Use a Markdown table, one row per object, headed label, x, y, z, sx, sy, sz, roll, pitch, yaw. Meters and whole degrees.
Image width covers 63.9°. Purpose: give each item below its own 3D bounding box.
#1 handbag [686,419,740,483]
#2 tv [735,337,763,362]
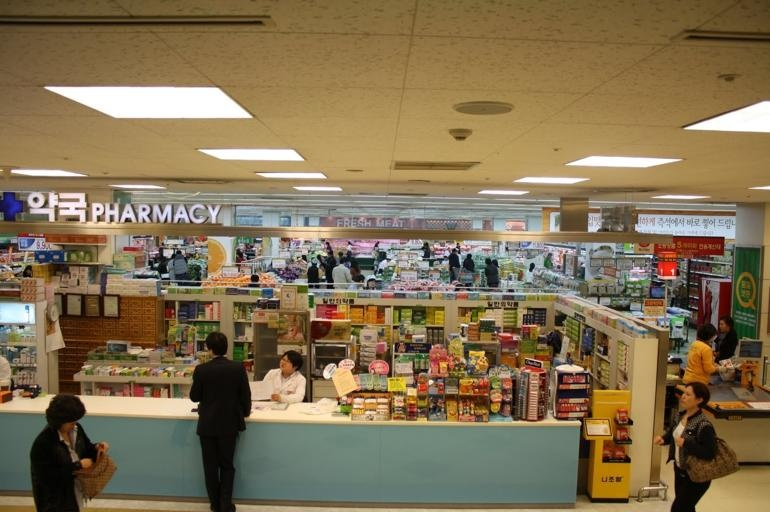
| label | x | y | z | sx | sy | sz | roll | pitch | yaw |
| --- | --- | --- | --- | --- | --- | --- | --- | --- | --- |
| handbag | 3.526 | 2.211 | 6.645 | 0.531 | 0.518 | 0.161 | 1 | 0 | -12 |
| tv | 5.600 | 1.447 | 9.498 | 0.343 | 0.365 | 0.269 | 0 | 0 | 24 |
